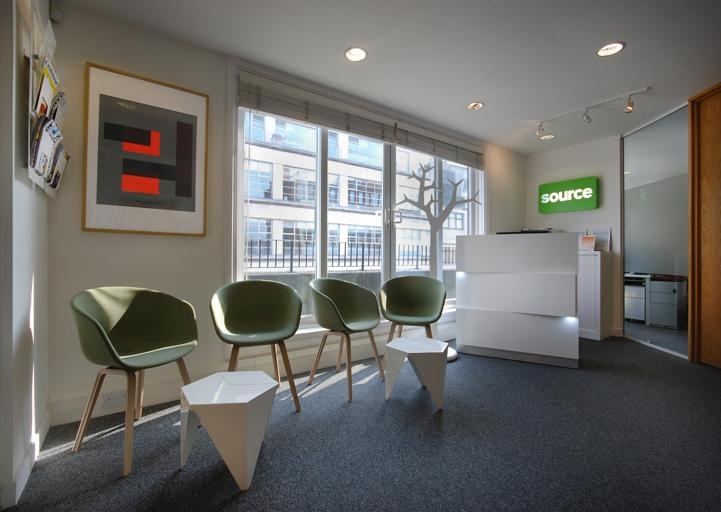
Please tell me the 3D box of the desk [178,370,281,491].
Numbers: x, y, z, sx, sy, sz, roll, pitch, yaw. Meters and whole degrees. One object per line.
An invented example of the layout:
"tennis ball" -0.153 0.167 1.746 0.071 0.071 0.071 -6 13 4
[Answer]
"desk" -0.842 1.084 3.239 0.648 0.518 0.627 8 7 28

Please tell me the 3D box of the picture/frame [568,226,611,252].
"picture/frame" 2.987 -0.243 5.938 0.390 0.276 0.277 8 16 26

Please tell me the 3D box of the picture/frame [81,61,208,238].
"picture/frame" -1.758 -0.853 3.829 0.983 1.375 0.403 -4 15 -18

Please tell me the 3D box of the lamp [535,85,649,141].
"lamp" 2.573 -1.591 5.252 0.640 0.514 1.287 -13 20 -42

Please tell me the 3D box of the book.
"book" -2.199 -0.905 3.263 0.217 0.939 0.597 -7 16 -26
